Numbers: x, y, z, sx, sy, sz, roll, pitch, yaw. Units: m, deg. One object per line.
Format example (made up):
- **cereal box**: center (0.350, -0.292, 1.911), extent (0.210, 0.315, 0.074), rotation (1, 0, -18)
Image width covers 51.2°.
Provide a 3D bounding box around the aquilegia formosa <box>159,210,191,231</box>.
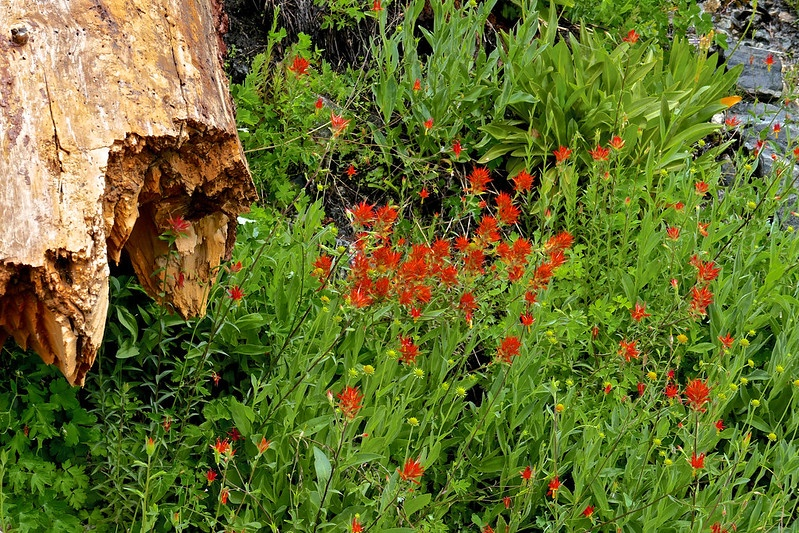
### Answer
- **aquilegia formosa**: center (-0.911, -0.165, 3.375), extent (0.090, 0.055, 0.089), rotation (31, 8, -47)
